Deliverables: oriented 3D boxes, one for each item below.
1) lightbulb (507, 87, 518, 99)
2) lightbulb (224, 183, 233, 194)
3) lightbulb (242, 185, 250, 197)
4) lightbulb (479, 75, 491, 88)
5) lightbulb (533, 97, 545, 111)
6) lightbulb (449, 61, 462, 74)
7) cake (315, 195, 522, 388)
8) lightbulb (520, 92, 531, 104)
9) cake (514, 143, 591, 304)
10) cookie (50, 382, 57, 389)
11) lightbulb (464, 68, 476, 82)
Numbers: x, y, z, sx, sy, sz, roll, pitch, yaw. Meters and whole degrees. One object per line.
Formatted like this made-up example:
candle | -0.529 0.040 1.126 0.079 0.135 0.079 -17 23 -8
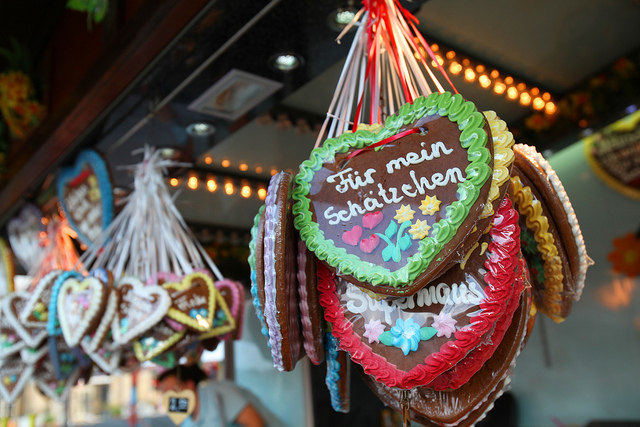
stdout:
lightbulb | 1.502 -0.937 6.011 0.071 0.068 0.074 -12 36 18
lightbulb | -0.834 -0.229 7.094 0.079 0.133 0.050 -19 60 -17
lightbulb | -0.689 -0.212 7.183 0.073 0.071 0.074 -1 15 -3
lightbulb | 1.250 -1.007 5.867 0.086 0.061 0.080 63 24 -4
lightbulb | 1.743 -0.880 6.190 0.071 0.078 0.079 32 49 6
lightbulb | 1.006 -1.074 5.687 0.094 0.078 0.063 -22 62 -19
cake | 0.542 0.482 3.995 1.061 0.341 1.231 -14 33 16
lightbulb | 1.624 -0.917 6.109 0.071 0.074 0.056 10 43 0
cake | 1.136 -0.014 3.932 0.135 0.516 0.583 -15 91 -20
cookie | -1.628 1.042 4.716 0.038 0.036 0.035 1 35 19
lightbulb | 1.123 -1.037 5.773 0.082 0.094 0.064 -34 66 -24
